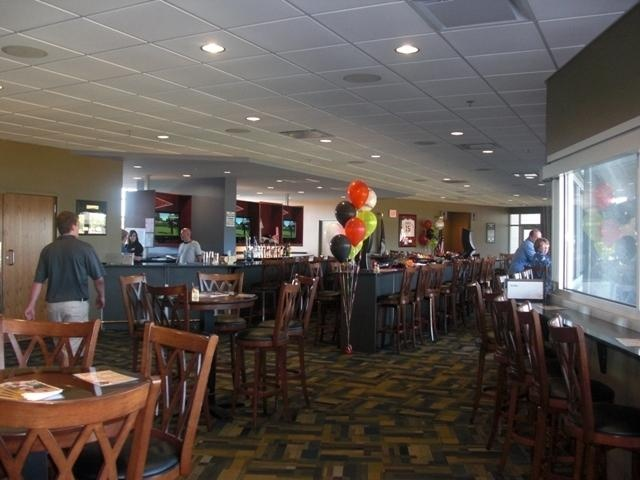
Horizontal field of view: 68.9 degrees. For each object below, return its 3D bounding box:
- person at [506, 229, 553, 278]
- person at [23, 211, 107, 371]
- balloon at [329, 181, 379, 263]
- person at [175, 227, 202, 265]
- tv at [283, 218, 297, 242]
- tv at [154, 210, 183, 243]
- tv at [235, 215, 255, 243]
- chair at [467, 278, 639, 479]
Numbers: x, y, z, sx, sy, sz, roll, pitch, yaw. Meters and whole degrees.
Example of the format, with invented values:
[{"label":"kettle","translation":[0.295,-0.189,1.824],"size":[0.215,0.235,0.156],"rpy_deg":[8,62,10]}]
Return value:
[{"label":"person","translation":[3.474,0.332,7.816],"size":[0.502,0.984,0.433],"rpy_deg":[7,19,24]},{"label":"person","translation":[-2.672,0.291,4.938],"size":[0.707,1.167,0.437],"rpy_deg":[0,1,-24]},{"label":"balloon","translation":[0.497,-0.271,6.834],"size":[0.626,1.270,1.241],"rpy_deg":[1,1,6]},{"label":"person","translation":[-2.962,0.143,10.650],"size":[0.768,0.974,0.496],"rpy_deg":[-6,-11,32]},{"label":"tv","translation":[-1.112,-0.323,16.864],"size":[0.173,0.730,0.887],"rpy_deg":[-3,-3,28]},{"label":"tv","translation":[-4.034,-0.346,12.320],"size":[0.113,0.803,0.862],"rpy_deg":[1,4,35]},{"label":"tv","translation":[-2.366,-0.298,14.554],"size":[0.092,0.743,0.913],"rpy_deg":[-5,-1,31]},{"label":"chair","translation":[1.741,1.041,3.469],"size":[0.508,0.885,1.470],"rpy_deg":[-3,1,-5]}]
